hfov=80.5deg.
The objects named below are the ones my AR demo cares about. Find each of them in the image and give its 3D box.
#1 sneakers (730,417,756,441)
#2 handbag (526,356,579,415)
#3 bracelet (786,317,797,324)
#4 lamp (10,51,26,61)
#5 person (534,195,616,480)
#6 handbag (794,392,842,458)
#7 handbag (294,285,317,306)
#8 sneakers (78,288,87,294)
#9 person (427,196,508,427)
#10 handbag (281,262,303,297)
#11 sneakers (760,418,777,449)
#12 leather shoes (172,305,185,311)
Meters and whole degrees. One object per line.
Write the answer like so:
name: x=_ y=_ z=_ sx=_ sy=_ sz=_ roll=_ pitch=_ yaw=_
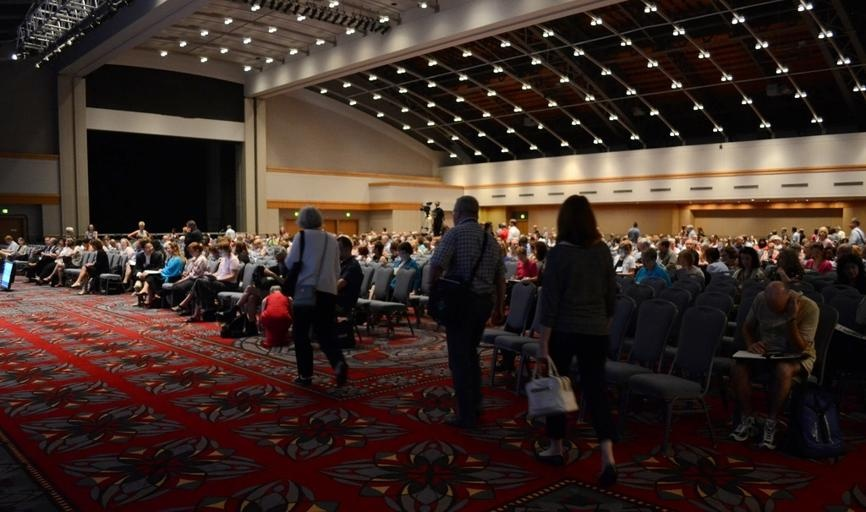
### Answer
sneakers: x=3.576 y=1.957 z=5.886 sx=0.330 sy=0.259 sz=0.116 roll=-3 pitch=11 yaw=-14
handbag: x=1.184 y=1.360 z=5.175 sx=0.483 sy=0.615 sz=0.288 roll=2 pitch=11 yaw=9
bracelet: x=4.156 y=0.735 z=5.916 sx=0.084 sy=0.059 sz=0.037 roll=-3 pitch=11 yaw=-14
lamp: x=-16.778 y=-7.954 z=20.620 sx=0.393 sy=0.327 sz=2.189 roll=-9 pitch=14 yaw=-39
person: x=1.507 y=0.801 z=5.167 sx=0.843 sy=2.729 sz=0.657 roll=5 pitch=12 yaw=24
handbag: x=4.234 y=1.851 z=5.725 sx=0.428 sy=0.699 sz=0.250 roll=2 pitch=-28 yaw=3
handbag: x=-1.716 y=0.535 z=6.913 sx=0.268 sy=0.226 sz=0.118 roll=-1 pitch=-5 yaw=10
sneakers: x=-10.297 y=1.064 z=14.979 sx=0.409 sy=0.168 sz=0.180 roll=3 pitch=0 yaw=37
person: x=0.423 y=0.640 z=6.203 sx=0.674 sy=2.627 sz=0.853 roll=9 pitch=14 yaw=41
handbag: x=-1.931 y=0.321 z=6.962 sx=0.266 sy=0.433 sz=0.172 roll=2 pitch=-5 yaw=20
sneakers: x=3.756 y=1.984 z=5.719 sx=0.149 sy=0.188 sz=0.448 roll=-2 pitch=-3 yaw=30
leather shoes: x=-5.954 y=1.240 z=11.959 sx=0.196 sy=0.165 sz=0.492 roll=-15 pitch=9 yaw=-33
